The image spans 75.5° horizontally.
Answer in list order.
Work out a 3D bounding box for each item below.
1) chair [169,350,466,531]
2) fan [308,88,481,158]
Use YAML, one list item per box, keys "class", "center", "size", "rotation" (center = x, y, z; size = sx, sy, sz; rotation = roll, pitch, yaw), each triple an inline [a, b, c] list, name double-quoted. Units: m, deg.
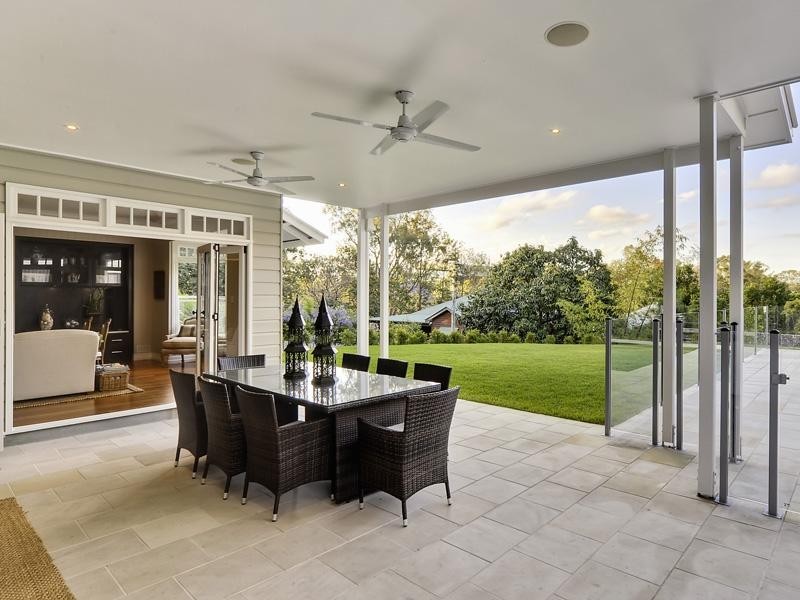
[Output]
- class: "chair"
  center: [-0.622, 1.193, 4.573]
  size: [2.228, 1.021, 1.190]
  rotation: [1, 6, 6]
- class: "fan"
  center: [-0.070, -1.560, 4.577]
  size: [1.401, 0.591, 0.918]
  rotation: [7, 1, -40]
